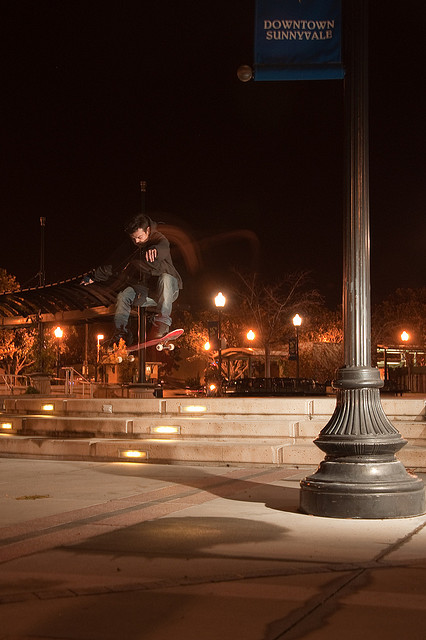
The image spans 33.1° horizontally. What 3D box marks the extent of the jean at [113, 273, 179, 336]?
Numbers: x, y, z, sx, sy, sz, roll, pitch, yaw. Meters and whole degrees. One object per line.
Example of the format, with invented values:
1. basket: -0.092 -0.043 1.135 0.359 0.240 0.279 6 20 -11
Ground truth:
1. jean: -1.352 -0.358 15.708 1.505 1.410 0.854 -5 -17 30
